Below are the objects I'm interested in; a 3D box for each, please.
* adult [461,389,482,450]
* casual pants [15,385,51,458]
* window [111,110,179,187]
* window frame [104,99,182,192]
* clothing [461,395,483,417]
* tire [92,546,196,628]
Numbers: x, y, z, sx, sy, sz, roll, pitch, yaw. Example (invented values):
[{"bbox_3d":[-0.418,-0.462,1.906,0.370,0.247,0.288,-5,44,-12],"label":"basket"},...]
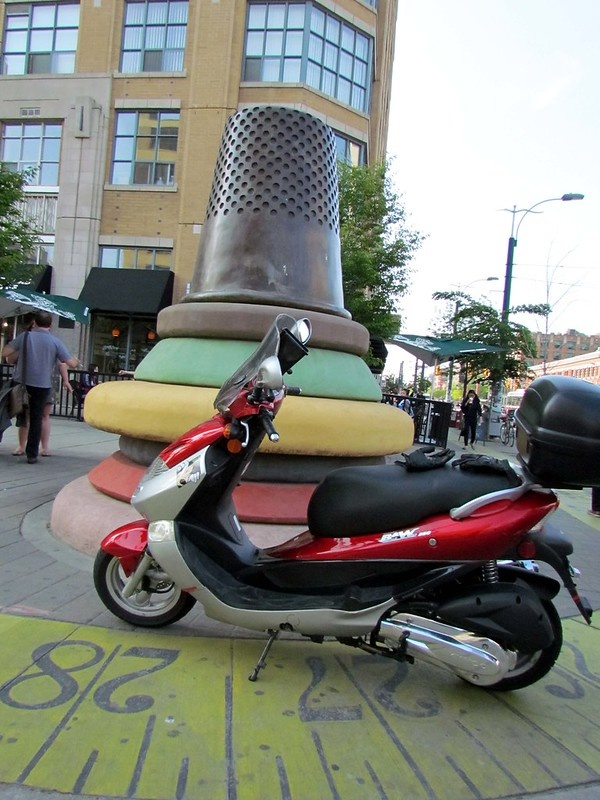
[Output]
[{"bbox_3d":[4.719,0.498,15.651,0.565,1.587,0.484,1,1,-1],"label":"adult"},{"bbox_3d":[-3.250,0.275,7.007,0.315,0.931,0.447,6,0,-12],"label":"casual pants"},{"bbox_3d":[-5.417,-9.079,20.543,2.636,2.749,0.213,13,2,8],"label":"window"},{"bbox_3d":[-5.472,-9.126,20.608,2.587,2.701,0.220,7,5,15],"label":"window frame"},{"bbox_3d":[4.789,0.156,15.841,0.762,0.479,0.390,3,1,-41],"label":"clothing"},{"bbox_3d":[-0.743,0.917,2.780,0.507,0.144,0.501,13,43,-20],"label":"tire"}]
